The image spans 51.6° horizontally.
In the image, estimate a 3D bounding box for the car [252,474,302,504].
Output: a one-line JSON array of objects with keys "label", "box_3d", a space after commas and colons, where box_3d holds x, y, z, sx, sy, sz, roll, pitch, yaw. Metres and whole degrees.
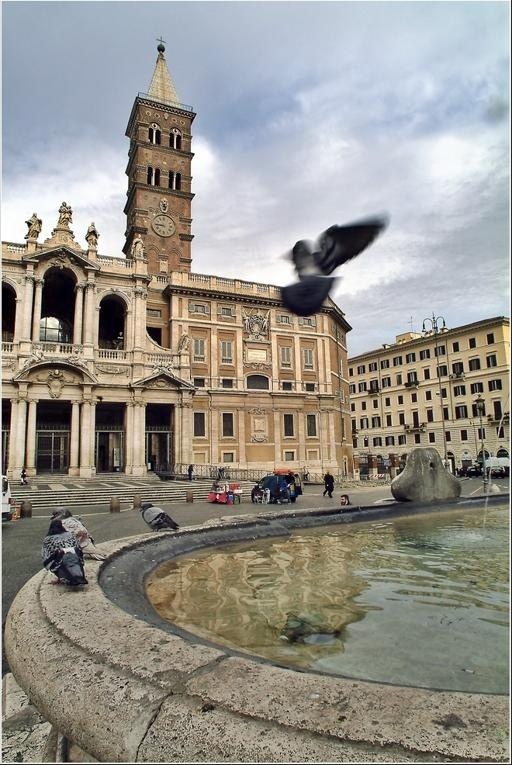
[{"label": "car", "box_3d": [0.764, 4.383, 21.780, 1.760, 1.035, 1.071, -11, -13, 36]}]

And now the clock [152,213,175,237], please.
[{"label": "clock", "box_3d": [-7.847, -13.186, 44.370, 1.635, 1.639, 0.143, 45, -25, -14]}]
